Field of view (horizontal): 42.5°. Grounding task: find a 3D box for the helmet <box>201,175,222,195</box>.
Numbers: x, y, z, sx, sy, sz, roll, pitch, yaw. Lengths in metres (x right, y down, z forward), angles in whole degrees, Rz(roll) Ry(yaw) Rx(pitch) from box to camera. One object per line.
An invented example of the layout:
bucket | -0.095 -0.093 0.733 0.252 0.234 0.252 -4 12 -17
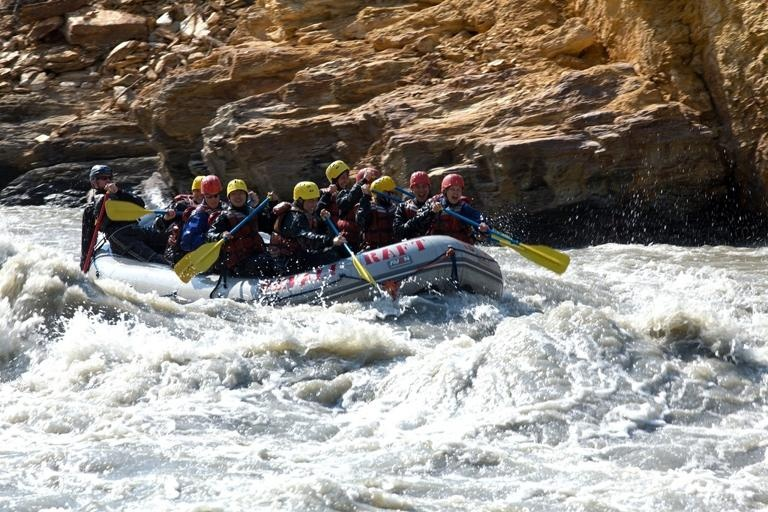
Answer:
helmet | -2.522 -1.053 14.339 0.290 0.251 0.327 -3 20 -12

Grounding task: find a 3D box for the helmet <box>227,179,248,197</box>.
helmet | -2.130 -0.991 14.338 0.337 0.178 0.388 -6 -20 -9

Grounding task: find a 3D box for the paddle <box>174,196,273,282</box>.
paddle | -2.264 -0.206 14.109 1.808 0.289 0.107 -30 -5 -10

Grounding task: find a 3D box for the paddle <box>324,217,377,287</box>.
paddle | -0.441 -0.073 13.614 0.344 0.978 1.234 -16 10 -8

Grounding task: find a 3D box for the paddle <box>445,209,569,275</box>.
paddle | 1.916 -0.227 15.208 2.909 0.379 0.194 20 15 15

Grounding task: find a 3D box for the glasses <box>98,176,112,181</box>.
glasses | -4.299 -1.211 15.195 0.117 0.027 0.108 -12 -10 31
